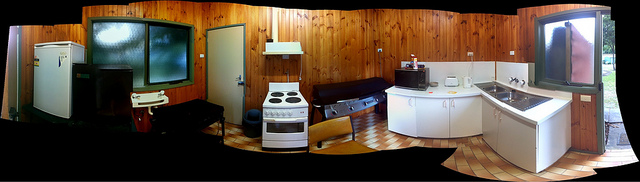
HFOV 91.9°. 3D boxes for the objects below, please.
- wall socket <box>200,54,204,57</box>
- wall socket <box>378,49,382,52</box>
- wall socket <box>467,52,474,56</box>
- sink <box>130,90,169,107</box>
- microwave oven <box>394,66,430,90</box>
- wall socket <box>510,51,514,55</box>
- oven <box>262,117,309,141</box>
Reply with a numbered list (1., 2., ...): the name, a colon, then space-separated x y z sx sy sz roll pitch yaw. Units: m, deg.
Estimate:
1. wall socket: -3.476 -1.029 9.091 0.177 0.087 0.059 3 12 7
2. wall socket: 1.813 -1.210 9.287 0.123 0.053 0.046 2 14 8
3. wall socket: 4.610 -1.130 9.432 0.199 0.071 0.077 2 11 8
4. sink: -4.939 0.251 8.906 1.355 0.260 0.546 -3 11 -23
5. microwave oven: 2.960 -0.419 9.673 1.001 0.374 0.638 7 20 34
6. wall socket: 5.762 -1.132 9.245 0.139 0.071 0.103 4 10 20
7. oven: -0.986 1.072 8.751 1.688 0.533 0.819 0 -3 -2
